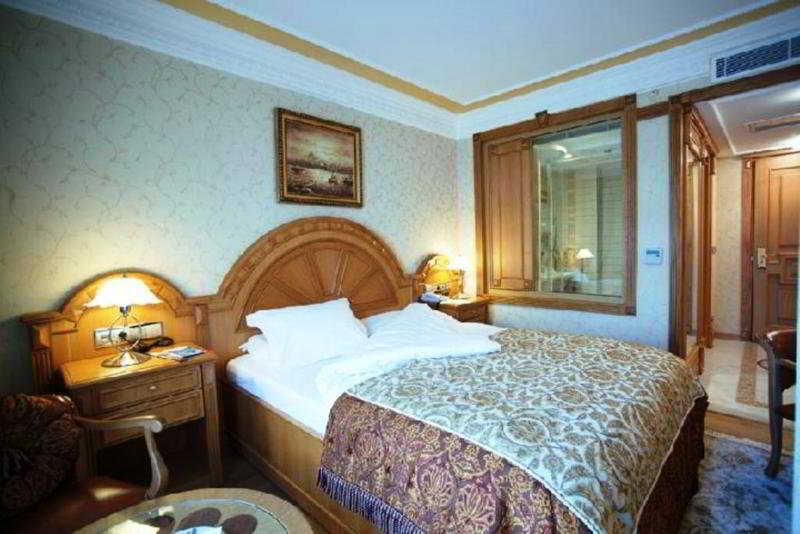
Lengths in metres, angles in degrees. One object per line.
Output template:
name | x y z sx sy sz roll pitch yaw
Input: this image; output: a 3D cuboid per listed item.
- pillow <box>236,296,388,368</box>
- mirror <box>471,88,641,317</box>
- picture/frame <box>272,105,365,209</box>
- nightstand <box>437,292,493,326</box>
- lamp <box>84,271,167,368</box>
pillow | -0.808 0.603 4.324 0.966 0.472 0.417 -4 3 -27
mirror | 1.871 -0.771 5.571 2.610 3.040 0.235 1 4 42
picture/frame | -0.858 -1.106 4.852 0.087 1.001 1.199 -4 -3 44
nightstand | 0.757 0.389 5.810 0.331 0.472 0.567 0 2 39
lamp | -2.155 0.400 3.773 0.638 0.811 0.650 2 3 36
